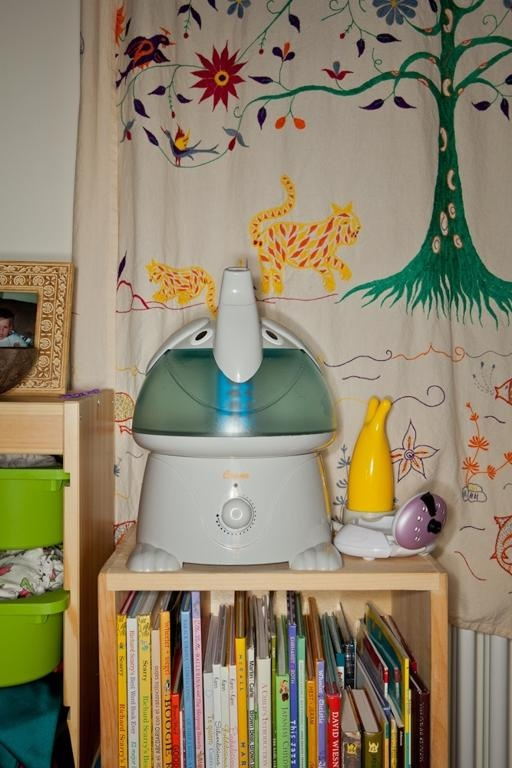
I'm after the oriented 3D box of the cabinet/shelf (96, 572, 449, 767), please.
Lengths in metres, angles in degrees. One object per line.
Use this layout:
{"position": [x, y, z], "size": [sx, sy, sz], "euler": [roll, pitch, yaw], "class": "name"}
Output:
{"position": [0.029, 0.405, 1.059], "size": [0.524, 0.307, 0.327], "euler": [-3, 1, -2], "class": "cabinet/shelf"}
